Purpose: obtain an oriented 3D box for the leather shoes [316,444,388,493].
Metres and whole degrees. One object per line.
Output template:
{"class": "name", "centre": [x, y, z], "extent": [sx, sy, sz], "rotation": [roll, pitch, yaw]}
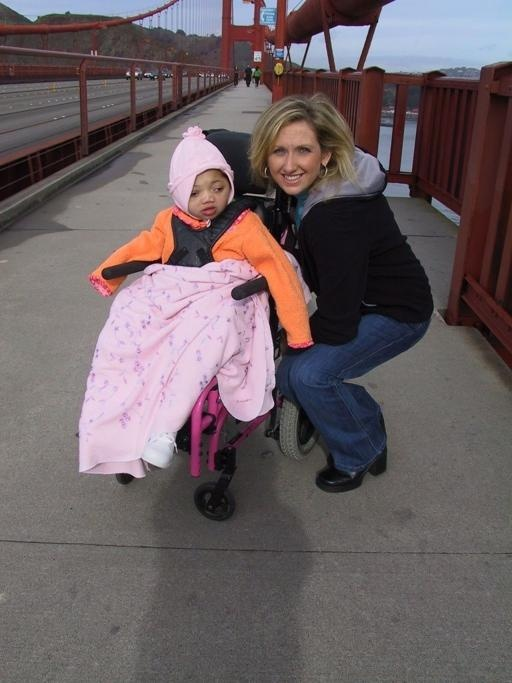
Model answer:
{"class": "leather shoes", "centre": [0.358, 0.442, 1.892], "extent": [0.280, 0.099, 0.118], "rotation": [-9, 26, -17]}
